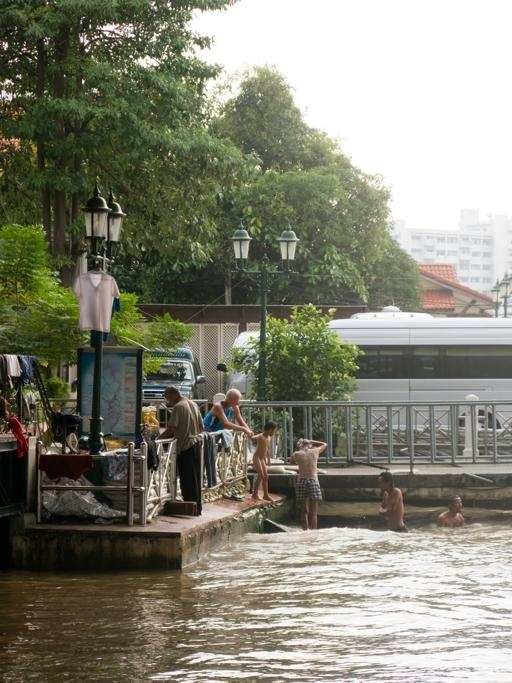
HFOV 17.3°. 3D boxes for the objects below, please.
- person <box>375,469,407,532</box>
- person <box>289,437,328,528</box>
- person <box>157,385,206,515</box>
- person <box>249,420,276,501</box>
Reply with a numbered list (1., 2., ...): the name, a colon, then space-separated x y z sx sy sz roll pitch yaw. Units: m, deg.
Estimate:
1. person: 1.887 2.196 23.086 0.301 0.792 0.573 0 -2 -20
2. person: 0.737 1.987 23.458 0.459 1.241 1.245 -1 -3 1
3. person: -0.872 1.358 20.847 0.383 1.572 0.746 -1 -2 22
4. person: 0.115 1.704 23.616 0.296 1.097 0.857 -7 -9 23
